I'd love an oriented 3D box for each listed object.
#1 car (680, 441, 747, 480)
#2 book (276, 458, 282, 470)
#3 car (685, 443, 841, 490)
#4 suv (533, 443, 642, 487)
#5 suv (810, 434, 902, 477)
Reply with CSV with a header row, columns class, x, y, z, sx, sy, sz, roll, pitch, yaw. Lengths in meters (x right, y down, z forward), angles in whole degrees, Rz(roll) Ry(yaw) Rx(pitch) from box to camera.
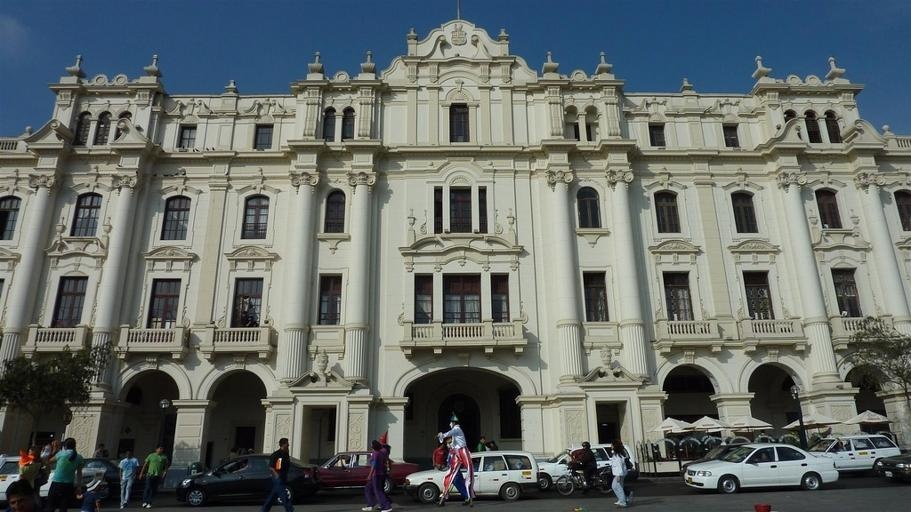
class,x,y,z,sx,sy,sz,roll,pitch,yaw
car,15.506,12.242,38.768,6.899,2.106,2.656,2,-17,-8
book,-8.576,10.070,31.451,0.315,0.497,0.090,8,-23,-22
car,17.655,12.260,37.703,7.900,2.144,3.121,1,-29,0
suv,7.923,12.874,39.806,5.977,2.069,2.547,2,-24,-3
suv,25.681,13.107,43.294,6.679,2.330,2.587,0,-12,3
